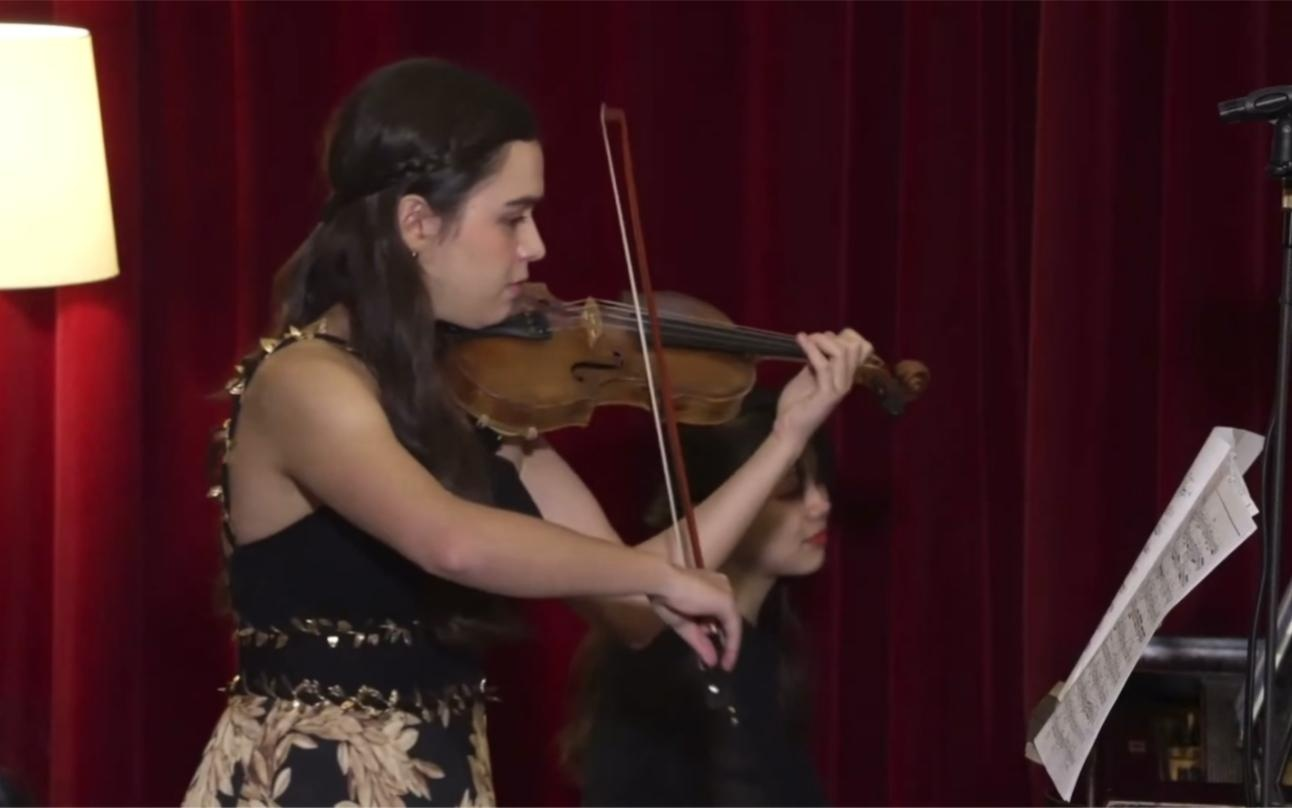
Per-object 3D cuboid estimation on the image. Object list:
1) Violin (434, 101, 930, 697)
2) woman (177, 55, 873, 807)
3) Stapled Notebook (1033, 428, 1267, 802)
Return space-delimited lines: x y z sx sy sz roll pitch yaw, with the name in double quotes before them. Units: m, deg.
"Violin" -0.044 -0.113 2.172 1.179 0.515 0.243 7 -44 -33
"woman" -0.368 -0.038 2.944 1.330 2.346 0.905 5 7 -5
"Stapled Notebook" 0.718 0.274 1.875 0.343 0.531 0.137 18 11 -21
